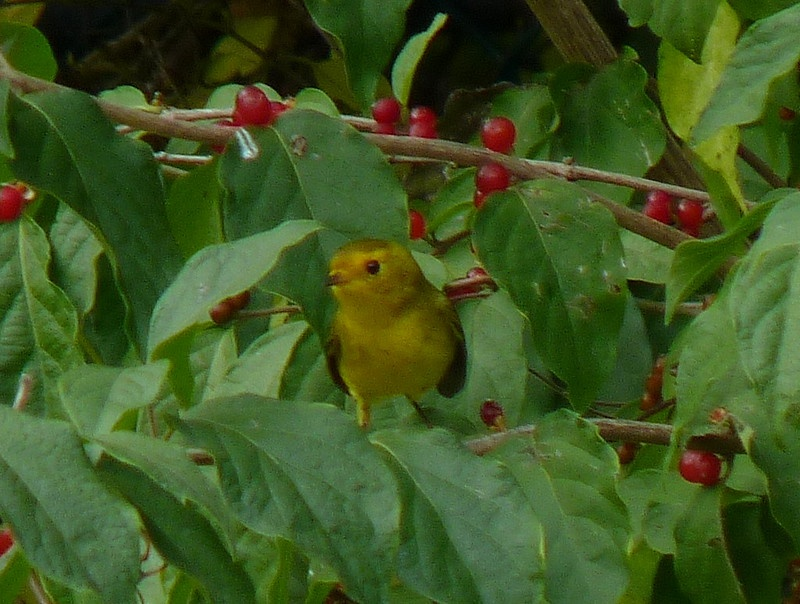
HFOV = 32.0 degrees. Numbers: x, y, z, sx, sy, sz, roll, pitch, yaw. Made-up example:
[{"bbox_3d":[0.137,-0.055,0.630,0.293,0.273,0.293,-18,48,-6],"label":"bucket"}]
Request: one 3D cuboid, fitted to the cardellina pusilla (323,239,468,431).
[{"bbox_3d":[-0.005,0.035,1.280,0.108,0.151,0.181,-11,-16,12],"label":"cardellina pusilla"}]
